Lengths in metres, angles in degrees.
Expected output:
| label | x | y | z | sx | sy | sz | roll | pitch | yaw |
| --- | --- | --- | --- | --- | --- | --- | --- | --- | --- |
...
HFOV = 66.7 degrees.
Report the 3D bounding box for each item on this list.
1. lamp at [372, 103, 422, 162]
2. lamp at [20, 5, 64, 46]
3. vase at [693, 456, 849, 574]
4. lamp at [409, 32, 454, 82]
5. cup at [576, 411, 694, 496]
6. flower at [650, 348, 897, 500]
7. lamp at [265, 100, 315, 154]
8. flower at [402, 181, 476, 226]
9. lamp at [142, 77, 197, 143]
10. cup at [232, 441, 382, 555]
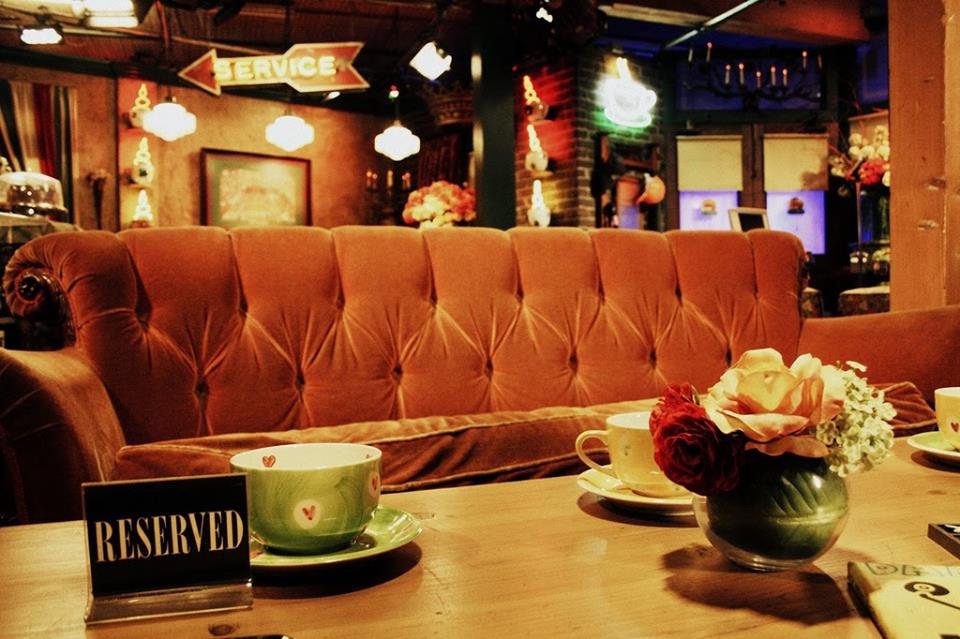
| label | x | y | z | sx | sy | sz | roll | pitch | yaw |
| --- | --- | --- | --- | --- | --- | --- | --- | --- | --- |
| lamp | -0.768 | -1.712 | 6.881 | 0.337 | 0.357 | 0.421 | -12 | 17 | -36 |
| lamp | -3.184 | -2.145 | 5.269 | 0.231 | 0.296 | 0.582 | -10 | 16 | -31 |
| vase | 0.406 | 0.275 | 1.051 | 0.216 | 0.150 | 0.208 | 7 | -9 | -35 |
| lamp | -0.366 | -1.922 | 5.383 | 0.228 | 0.254 | 0.211 | 8 | 17 | 33 |
| cup | 0.260 | 0.225 | 1.218 | 0.176 | 0.109 | 0.118 | -3 | -1 | 10 |
| flower | 0.385 | 0.130 | 0.991 | 0.238 | 0.135 | 0.232 | -24 | 14 | -1 |
| lamp | -1.743 | -1.764 | 6.716 | 0.363 | 0.357 | 0.322 | 11 | 19 | 41 |
| flower | -0.400 | -1.150 | 7.280 | 0.611 | 0.438 | 0.804 | -9 | 16 | -30 |
| lamp | -2.640 | -1.734 | 6.251 | 0.334 | 0.353 | 0.418 | -15 | 19 | -43 |
| cup | -0.238 | 0.215 | 0.994 | 0.165 | 0.098 | 0.173 | -1 | 3 | 0 |
